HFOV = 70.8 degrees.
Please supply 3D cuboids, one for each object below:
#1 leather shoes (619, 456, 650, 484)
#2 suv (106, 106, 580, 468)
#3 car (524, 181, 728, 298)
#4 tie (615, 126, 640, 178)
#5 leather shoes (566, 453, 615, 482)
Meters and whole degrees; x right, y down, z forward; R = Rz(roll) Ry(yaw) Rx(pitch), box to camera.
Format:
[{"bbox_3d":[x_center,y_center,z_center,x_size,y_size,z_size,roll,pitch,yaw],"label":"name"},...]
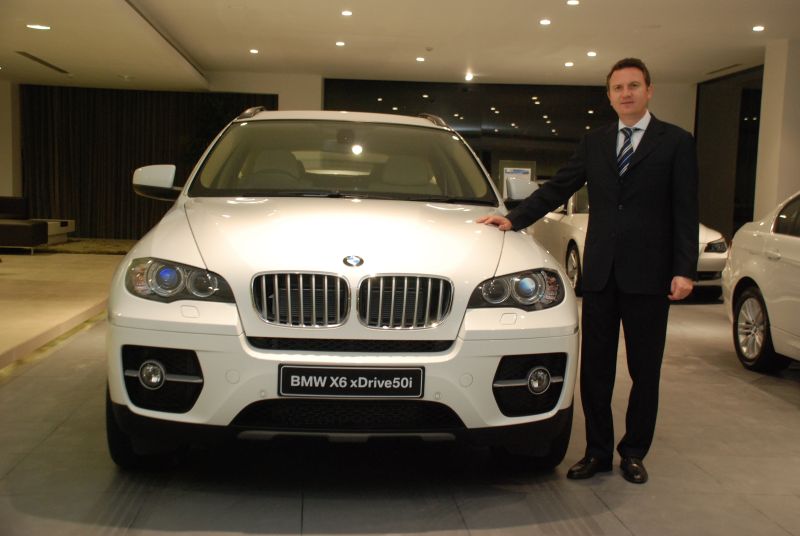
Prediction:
[{"bbox_3d":[1.232,1.045,2.962,0.068,0.074,0.169,0,0,0],"label":"leather shoes"},{"bbox_3d":[-0.275,0.020,3.780,1.535,1.426,2.653,1,-1,-2],"label":"suv"},{"bbox_3d":[2.998,-0.405,8.883,1.712,1.582,4.065,1,2,-13],"label":"car"},{"bbox_3d":[1.156,-0.601,2.905,0.081,0.238,0.066,5,8,25],"label":"tie"},{"bbox_3d":[0.999,1.035,3.025,0.290,0.135,0.102,2,-1,-27],"label":"leather shoes"}]
